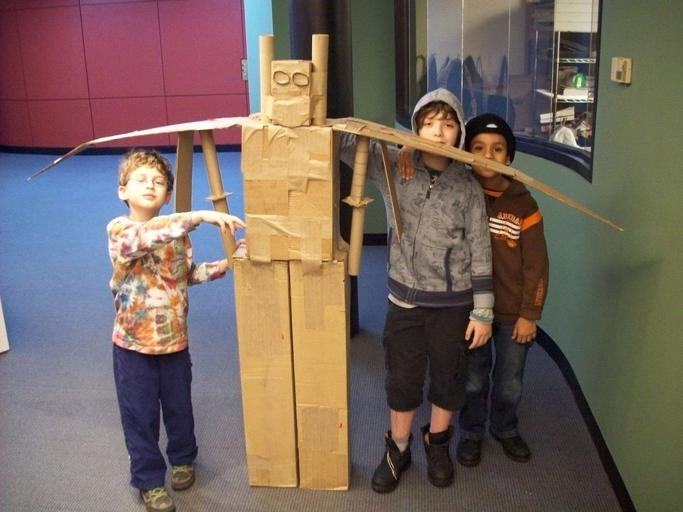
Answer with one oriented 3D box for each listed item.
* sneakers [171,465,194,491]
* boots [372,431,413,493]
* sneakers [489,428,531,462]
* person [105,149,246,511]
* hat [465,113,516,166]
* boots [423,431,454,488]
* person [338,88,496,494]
[{"bbox_3d":[-0.660,0.925,2.434,0.053,0.059,0.130,1,4,-5],"label":"sneakers"},{"bbox_3d":[0.213,0.859,2.468,0.097,0.196,0.256,1,18,37],"label":"boots"},{"bbox_3d":[0.757,0.840,2.618,0.075,0.074,0.168,-23,39,-19],"label":"sneakers"},{"bbox_3d":[-0.676,0.285,2.336,0.478,1.376,0.459,-9,17,-22],"label":"person"},{"bbox_3d":[0.616,-0.478,2.435,0.149,0.193,0.217,3,13,3],"label":"hat"},{"bbox_3d":[0.398,0.846,2.452,0.085,0.111,0.258,-1,30,1],"label":"boots"},{"bbox_3d":[0.338,0.157,2.340,0.562,1.577,0.367,-2,16,1],"label":"person"}]
